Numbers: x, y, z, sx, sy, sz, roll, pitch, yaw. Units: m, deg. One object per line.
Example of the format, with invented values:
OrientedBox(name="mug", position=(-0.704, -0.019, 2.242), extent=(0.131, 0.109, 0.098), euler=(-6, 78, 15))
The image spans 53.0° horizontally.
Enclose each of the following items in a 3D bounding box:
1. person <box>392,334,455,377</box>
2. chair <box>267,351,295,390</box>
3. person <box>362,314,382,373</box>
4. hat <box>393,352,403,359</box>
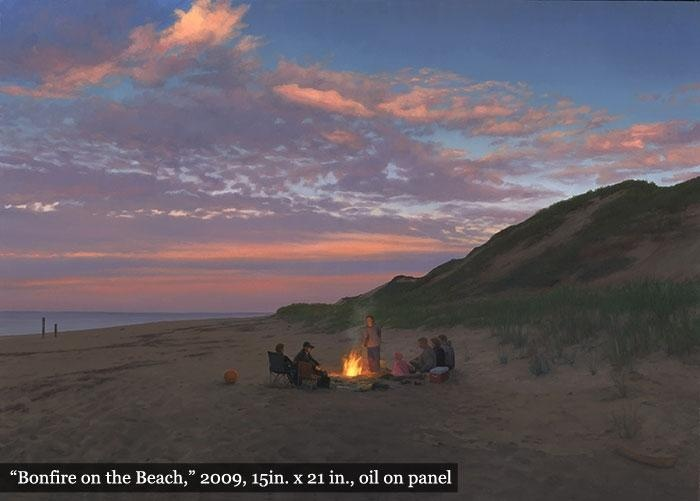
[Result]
OrientedBox(name="person", position=(2.810, 3.959, 26.667), extent=(2.098, 1.113, 1.549), euler=(-3, -6, 31))
OrientedBox(name="chair", position=(-2.357, 4.243, 25.164), extent=(1.204, 1.207, 1.130), euler=(2, -6, -30))
OrientedBox(name="person", position=(0.877, 3.676, 27.613), extent=(0.651, 2.228, 0.936), euler=(0, -1, 1))
OrientedBox(name="hat", position=(1.902, 4.010, 26.854), extent=(0.421, 0.311, 0.373), euler=(-2, 0, -18))
